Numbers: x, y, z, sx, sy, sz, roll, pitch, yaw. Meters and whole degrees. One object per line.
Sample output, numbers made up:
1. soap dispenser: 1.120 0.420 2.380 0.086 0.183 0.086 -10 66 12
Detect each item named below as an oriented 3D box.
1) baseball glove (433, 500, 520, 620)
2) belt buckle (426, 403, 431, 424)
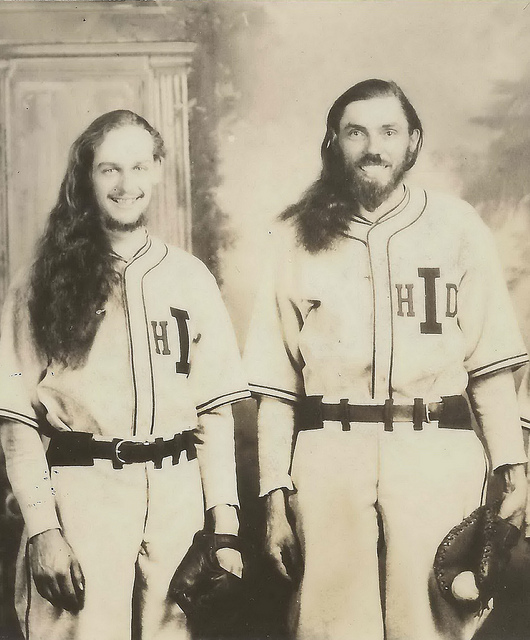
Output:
1. baseball glove: 0.814 0.937 5.242 0.362 0.436 0.109 15 0 -29
2. belt buckle: 0.646 0.372 5.184 0.018 0.083 0.009 -3 4 -27
